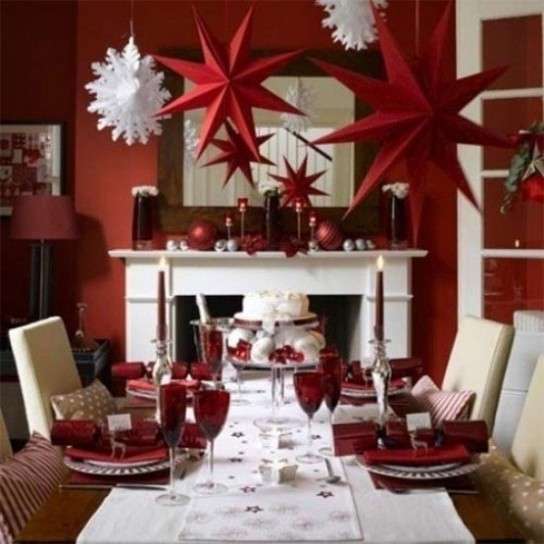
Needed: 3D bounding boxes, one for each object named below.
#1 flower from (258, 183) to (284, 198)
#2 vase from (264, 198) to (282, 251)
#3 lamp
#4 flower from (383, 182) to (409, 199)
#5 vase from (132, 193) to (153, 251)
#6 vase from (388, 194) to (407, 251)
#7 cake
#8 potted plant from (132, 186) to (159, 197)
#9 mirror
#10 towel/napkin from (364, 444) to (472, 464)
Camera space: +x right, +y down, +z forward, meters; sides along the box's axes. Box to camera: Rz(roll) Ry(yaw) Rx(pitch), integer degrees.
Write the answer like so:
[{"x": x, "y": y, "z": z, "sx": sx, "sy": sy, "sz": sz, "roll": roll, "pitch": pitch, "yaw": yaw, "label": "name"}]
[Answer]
[{"x": -0.010, "y": -0.522, "z": 3.297, "sx": 0.150, "sy": 0.110, "sz": 0.187, "roll": 1, "pitch": 3, "yaw": -4, "label": "flower"}, {"x": 0.001, "y": -0.304, "z": 3.273, "sx": 0.102, "sy": 0.335, "sz": 0.054, "roll": 1, "pitch": 3, "yaw": -2, "label": "vase"}, {"x": -1.367, "y": -0.091, "z": 3.172, "sx": 0.376, "sy": 0.749, "sz": 0.168, "roll": 2, "pitch": 3, "yaw": 5, "label": "lamp"}, {"x": 0.774, "y": -0.500, "z": 3.279, "sx": 0.125, "sy": 0.091, "sz": 0.111, "roll": 4, "pitch": 1, "yaw": -30, "label": "flower"}, {"x": -0.790, "y": -0.307, "z": 3.245, "sx": 0.108, "sy": 0.331, "sz": 0.062, "roll": 0, "pitch": 3, "yaw": -19, "label": "vase"}, {"x": 0.790, "y": -0.312, "z": 3.314, "sx": 0.138, "sy": 0.338, "sz": 0.110, "roll": 1, "pitch": 3, "yaw": -8, "label": "vase"}, {"x": 0.007, "y": 0.150, "z": 1.527, "sx": 0.278, "sy": 0.181, "sz": 0.256, "roll": 2, "pitch": 3, "yaw": 6, "label": "cake"}, {"x": -0.774, "y": -0.495, "z": 3.230, "sx": 0.135, "sy": 0.068, "sz": 0.095, "roll": -1, "pitch": 4, "yaw": -43, "label": "potted plant"}, {"x": -0.054, "y": -0.655, "z": 2.691, "sx": 1.055, "sy": 0.972, "sz": 0.024, "roll": 0, "pitch": 0, "yaw": -2, "label": "mirror"}, {"x": 0.293, "y": 0.365, "z": 1.063, "sx": 0.122, "sy": 0.022, "sz": 0.084, "roll": -3, "pitch": -5, "yaw": -3, "label": "towel/napkin"}]
